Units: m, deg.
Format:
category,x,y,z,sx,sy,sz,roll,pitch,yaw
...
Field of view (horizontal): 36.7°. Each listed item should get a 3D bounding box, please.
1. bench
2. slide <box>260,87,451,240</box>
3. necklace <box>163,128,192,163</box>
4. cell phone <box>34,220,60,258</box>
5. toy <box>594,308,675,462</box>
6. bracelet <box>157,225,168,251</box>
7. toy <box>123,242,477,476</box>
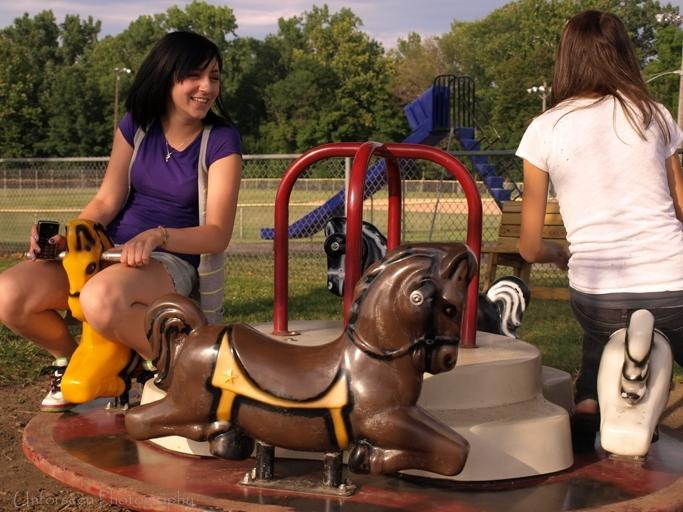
category,x,y,z,sx,sy,sz,roll,pitch,yaw
bench,1.574,-0.045,9.010,0.390,0.685,0.687,-11,6,-37
slide,0.380,-1.508,14.848,2.204,2.086,4.904,1,7,9
necklace,-0.791,-0.535,4.925,0.133,0.133,0.037,29,1,13
cell phone,-1.321,-0.071,4.592,0.126,0.211,0.125,2,16,-4
toy,1.252,0.536,4.380,0.307,0.617,0.269,1,7,8
bracelet,-0.767,-0.079,4.429,0.039,0.075,0.066,-2,-3,-7
toy,-0.175,0.446,4.162,0.958,0.633,0.290,3,-5,12
